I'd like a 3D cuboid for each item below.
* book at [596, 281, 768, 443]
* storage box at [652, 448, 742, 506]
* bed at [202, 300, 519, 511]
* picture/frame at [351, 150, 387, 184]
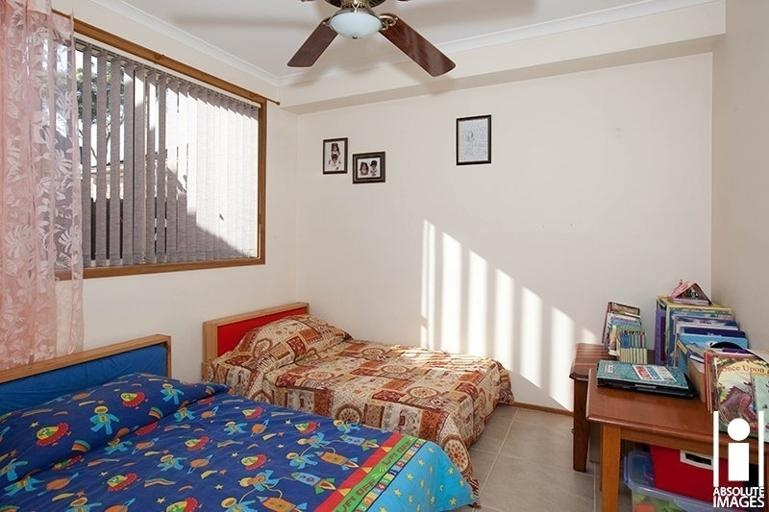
[{"bbox_3d":[1.895,0.639,3.289,0.988,0.299,0.719,2,4,42],"label":"book"},{"bbox_3d":[1.585,1.160,2.629,0.317,0.198,0.308,-1,-1,34],"label":"storage box"},{"bbox_3d":[-0.268,1.052,4.069,1.924,0.631,1.376,3,7,26],"label":"bed"},{"bbox_3d":[-0.139,-0.915,5.036,0.354,0.291,0.040,3,4,25],"label":"picture/frame"}]
